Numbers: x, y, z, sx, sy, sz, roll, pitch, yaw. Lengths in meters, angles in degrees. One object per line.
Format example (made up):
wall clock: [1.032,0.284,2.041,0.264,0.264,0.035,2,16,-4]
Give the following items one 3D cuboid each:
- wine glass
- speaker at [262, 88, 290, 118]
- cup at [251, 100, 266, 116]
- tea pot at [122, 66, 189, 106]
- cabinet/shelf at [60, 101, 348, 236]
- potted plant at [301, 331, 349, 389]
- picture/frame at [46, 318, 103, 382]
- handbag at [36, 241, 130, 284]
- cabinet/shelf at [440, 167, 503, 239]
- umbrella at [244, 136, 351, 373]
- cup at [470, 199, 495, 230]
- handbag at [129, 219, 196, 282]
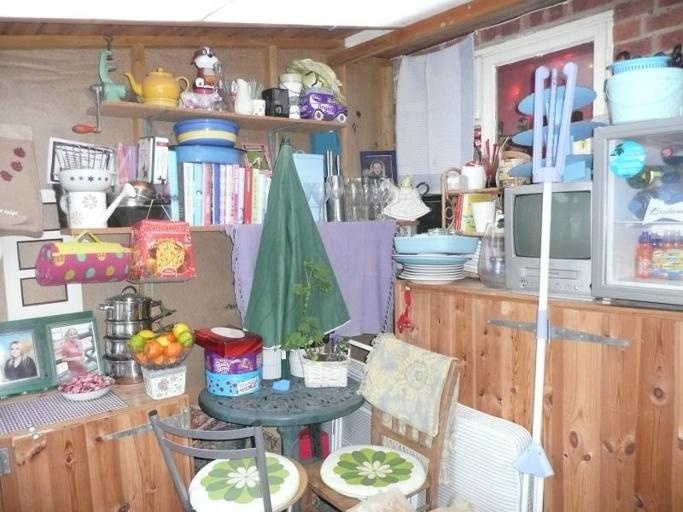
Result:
wine glass: [0.049,-0.332,3.058,0.441,0.279,0.242,0,5,10]
speaker: [-0.364,-0.874,3.026,0.158,0.236,0.160,2,12,6]
cup: [-0.460,-0.832,2.972,0.088,0.097,0.087,0,13,0]
tea pot: [-0.943,-0.829,2.730,0.310,0.199,0.221,2,14,-18]
cabinet/shelf: [-0.827,-0.384,3.102,1.344,0.681,0.698,-2,0,-31]
potted plant: [-0.086,0.577,2.832,0.226,0.225,0.230,0,-5,-1]
picture/frame: [-1.357,0.486,2.685,0.264,0.369,0.024,-9,-4,-42]
handbag: [-1.231,0.033,2.607,0.420,0.243,0.191,0,-1,-40]
cabinet/shelf: [0.865,-0.350,3.355,0.414,0.509,0.383,-6,11,-36]
umbrella: [-0.237,-0.076,2.752,0.336,1.074,0.485,3,7,41]
cup: [0.824,-0.231,3.111,0.165,0.188,0.173,1,-1,0]
handbag: [-0.877,-0.052,2.686,0.350,0.354,0.272,-1,5,-25]
